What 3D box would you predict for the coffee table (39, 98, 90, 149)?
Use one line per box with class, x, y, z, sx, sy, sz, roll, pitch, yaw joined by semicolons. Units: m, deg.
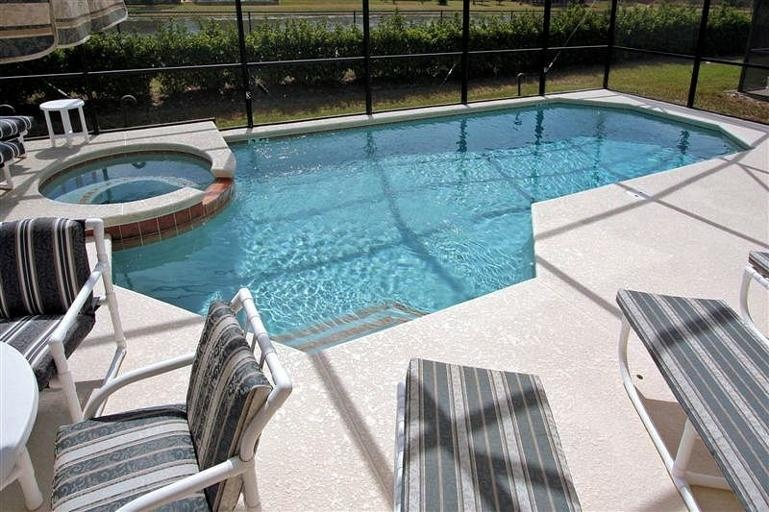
coffee table;-5.079;-2.105;7.418;0.878;0.634;0.752;-20;41;-30
